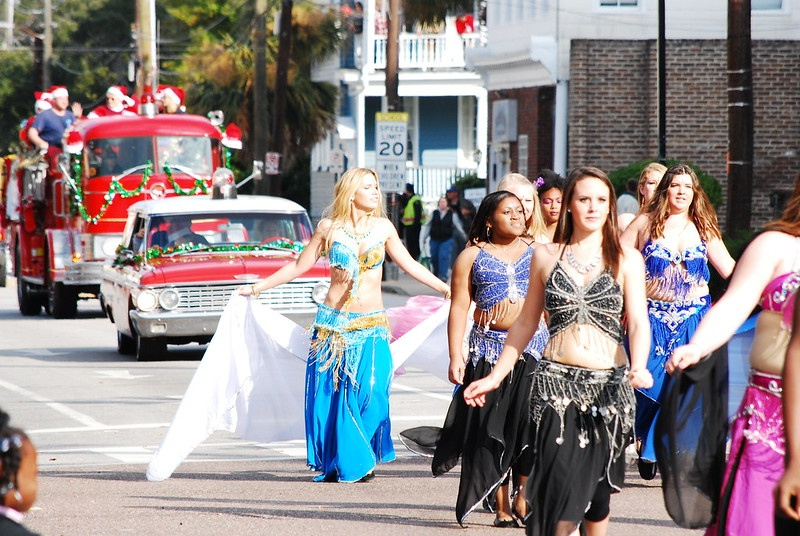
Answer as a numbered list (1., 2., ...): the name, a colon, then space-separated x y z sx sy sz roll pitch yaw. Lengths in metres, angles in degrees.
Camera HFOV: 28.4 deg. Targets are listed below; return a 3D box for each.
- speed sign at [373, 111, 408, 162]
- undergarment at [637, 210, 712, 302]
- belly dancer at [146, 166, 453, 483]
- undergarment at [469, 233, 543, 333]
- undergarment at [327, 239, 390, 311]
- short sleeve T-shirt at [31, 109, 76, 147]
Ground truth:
1. speed sign: -0.205 -2.659 32.404 0.720 0.973 0.647 -1 5 -14
2. undergarment: 2.722 -0.079 15.776 0.698 0.961 0.590 -1 -3 -1
3. belly dancer: -1.383 0.720 18.977 3.698 3.788 1.264 1 -1 -4
4. undergarment: 0.872 0.168 15.152 0.828 1.287 0.667 1 -1 -7
5. undergarment: -0.460 0.072 16.249 0.696 0.918 0.152 6 -2 -1
6. short sleeve T-shirt: -6.579 -2.616 30.073 0.740 0.592 0.382 -7 -10 -45
